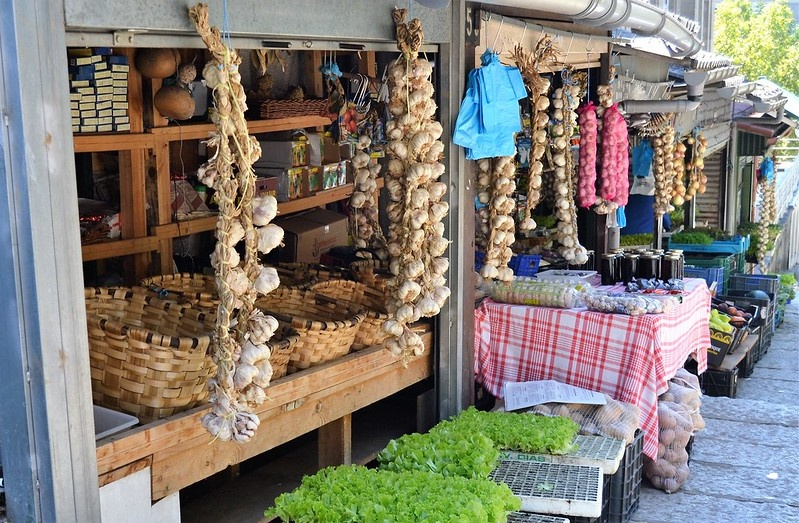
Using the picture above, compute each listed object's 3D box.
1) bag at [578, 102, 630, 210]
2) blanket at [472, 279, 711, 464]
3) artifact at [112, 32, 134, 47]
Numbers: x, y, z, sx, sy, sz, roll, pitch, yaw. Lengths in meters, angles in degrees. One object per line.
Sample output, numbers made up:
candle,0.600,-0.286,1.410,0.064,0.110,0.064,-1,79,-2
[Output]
bag,1.659,-0.900,5.303,0.526,0.861,0.302,-1,-2,-4
blanket,1.604,0.692,5.195,1.491,0.922,2.010,6,6,30
artifact,-1.066,-0.863,2.462,0.056,0.058,0.089,13,15,39
